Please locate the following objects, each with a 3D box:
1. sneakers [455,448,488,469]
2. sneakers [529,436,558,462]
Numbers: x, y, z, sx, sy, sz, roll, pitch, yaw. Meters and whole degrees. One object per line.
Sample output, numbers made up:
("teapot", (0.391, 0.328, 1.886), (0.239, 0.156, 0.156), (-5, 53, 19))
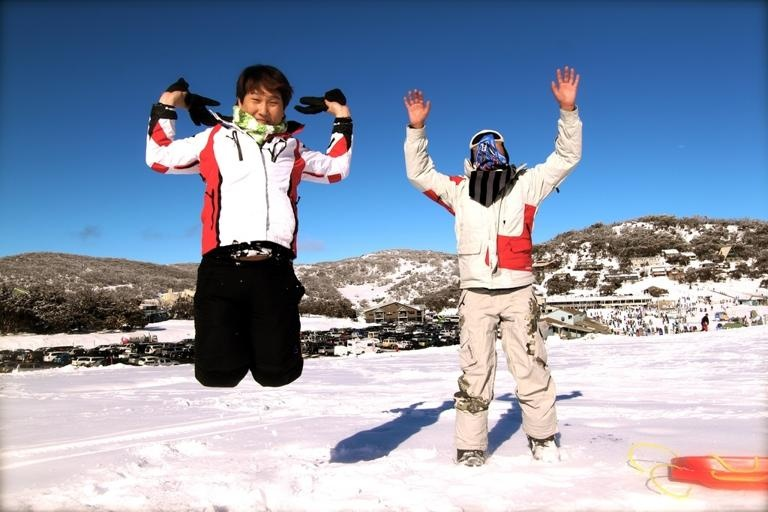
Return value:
("sneakers", (0.879, 1.973, 5.246), (0.329, 0.124, 0.229), (-1, -1, -2))
("sneakers", (1.597, 1.913, 5.244), (0.268, 0.088, 0.197), (-9, 24, -22))
